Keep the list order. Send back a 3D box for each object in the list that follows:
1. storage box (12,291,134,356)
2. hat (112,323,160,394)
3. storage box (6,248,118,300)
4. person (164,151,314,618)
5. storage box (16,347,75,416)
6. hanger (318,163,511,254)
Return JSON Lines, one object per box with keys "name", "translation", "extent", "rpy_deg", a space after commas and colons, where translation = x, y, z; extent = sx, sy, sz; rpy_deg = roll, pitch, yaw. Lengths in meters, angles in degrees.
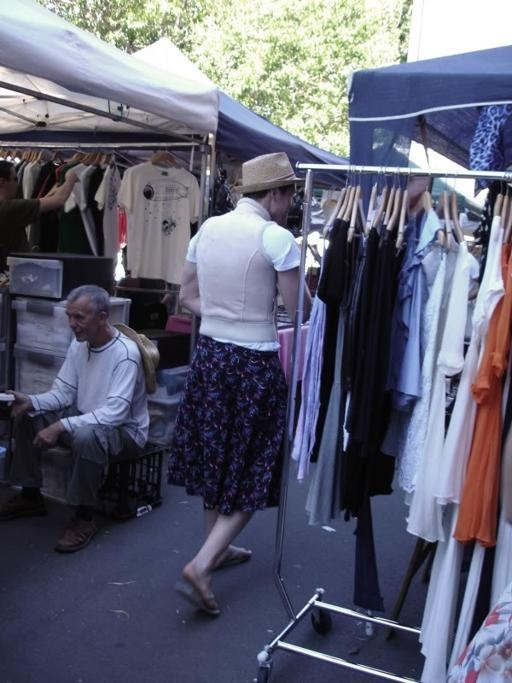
{"name": "storage box", "translation": [-1.244, -0.175, 3.700], "extent": [0.590, 0.444, 0.484], "rpy_deg": [9, 17, 19]}
{"name": "hat", "translation": [-0.653, 0.053, 3.045], "extent": [0.199, 0.424, 0.245], "rpy_deg": [6, 19, -26]}
{"name": "storage box", "translation": [-1.303, -0.420, 3.665], "extent": [0.501, 0.386, 0.520], "rpy_deg": [4, 4, 20]}
{"name": "person", "translation": [-0.065, 0.101, 2.315], "extent": [0.491, 1.891, 0.541], "rpy_deg": [5, 6, 26]}
{"name": "storage box", "translation": [-1.451, 0.175, 3.682], "extent": [0.335, 0.495, 0.291], "rpy_deg": [9, 17, 20]}
{"name": "hanger", "translation": [0.497, -0.450, 1.779], "extent": [0.342, 0.215, 0.614], "rpy_deg": [6, 16, 20]}
